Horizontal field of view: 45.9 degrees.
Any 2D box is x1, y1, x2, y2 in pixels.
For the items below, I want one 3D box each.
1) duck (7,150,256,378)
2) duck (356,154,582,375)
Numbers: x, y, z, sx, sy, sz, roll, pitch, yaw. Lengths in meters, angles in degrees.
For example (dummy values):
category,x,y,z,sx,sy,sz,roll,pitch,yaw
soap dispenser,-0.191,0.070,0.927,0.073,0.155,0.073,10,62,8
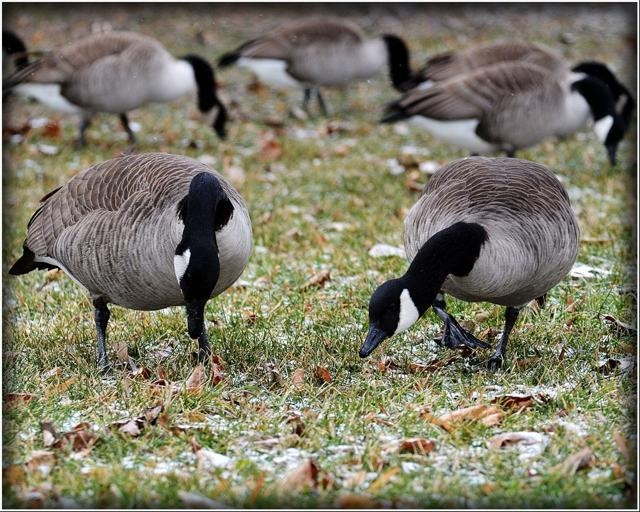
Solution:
category,x,y,z,sx,sy,sz,roll,pitch,yaw
duck,-1.139,-0.084,4.770,1.004,1.141,1.810,-6,35,-36
duck,1.034,0.007,5.007,1.004,0.997,1.825,14,35,34
